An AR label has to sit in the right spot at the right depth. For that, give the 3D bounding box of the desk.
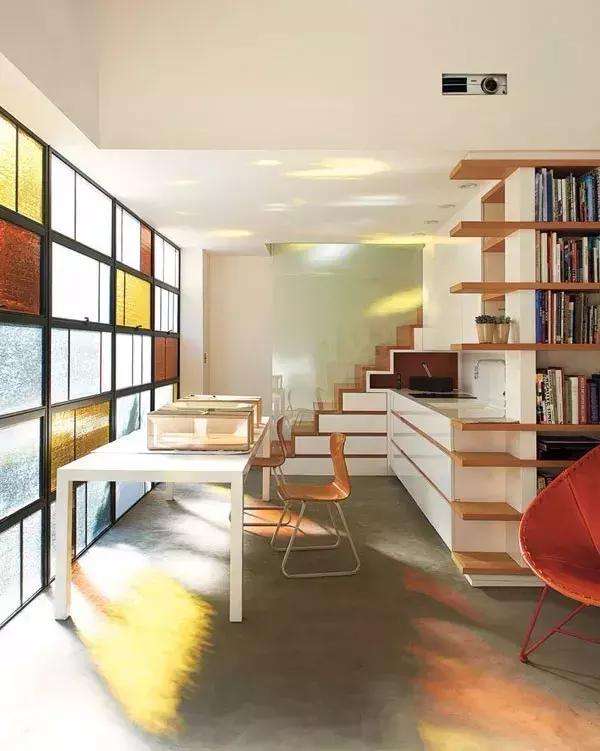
[{"bbox_3d":[-0.663,0.702,3.209,0.874,0.748,0.973,1,4,3],"label":"desk"}]

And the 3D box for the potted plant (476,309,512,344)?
[{"bbox_3d":[1.068,-0.278,3.446,0.207,0.165,0.156,-1,-2,-1],"label":"potted plant"}]
